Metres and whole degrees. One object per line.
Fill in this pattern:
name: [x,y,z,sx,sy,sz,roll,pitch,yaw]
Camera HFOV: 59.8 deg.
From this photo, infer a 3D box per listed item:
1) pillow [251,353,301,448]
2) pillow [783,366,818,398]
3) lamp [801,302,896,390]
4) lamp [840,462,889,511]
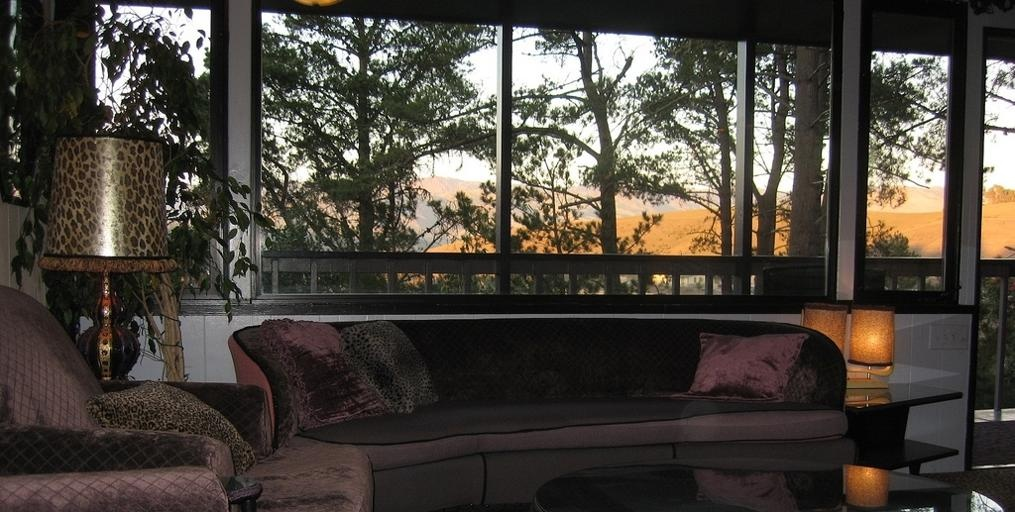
pillow: [-1.727,1.109,6.729,0.262,0.553,0.569,-5,-4,-1]
pillow: [2.495,1.079,7.490,0.268,0.250,0.073,15,0,24]
lamp: [2.951,0.797,7.687,0.799,0.715,0.413,1,3,5]
lamp: [2.638,1.709,6.508,0.291,0.196,0.277,3,-7,-4]
